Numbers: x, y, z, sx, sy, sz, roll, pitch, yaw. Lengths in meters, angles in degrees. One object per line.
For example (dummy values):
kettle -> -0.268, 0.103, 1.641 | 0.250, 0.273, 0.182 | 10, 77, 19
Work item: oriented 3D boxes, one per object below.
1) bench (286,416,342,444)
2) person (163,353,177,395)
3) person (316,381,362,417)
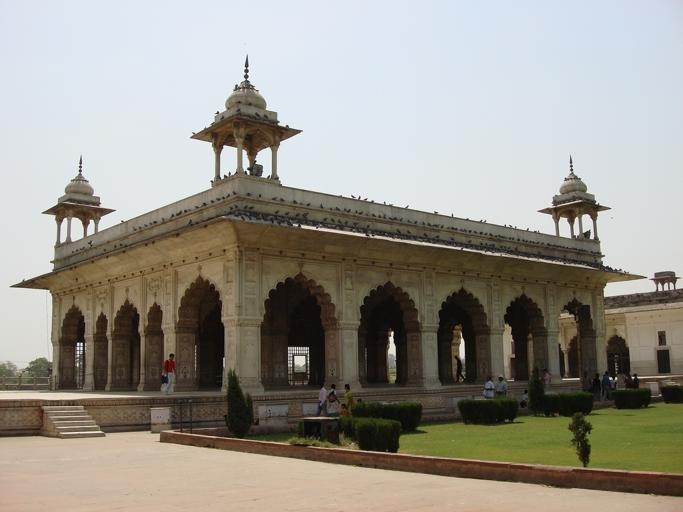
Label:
bench -> -0.373, 3.521, 17.518 | 0.501, 0.643, 0.704 | 14, -19, -41
person -> -4.805, 3.271, 24.191 | 0.289, 1.186, 0.938 | 1, -12, -10
person -> -0.036, 3.706, 21.937 | 1.005, 0.649, 1.034 | -7, -9, 36
